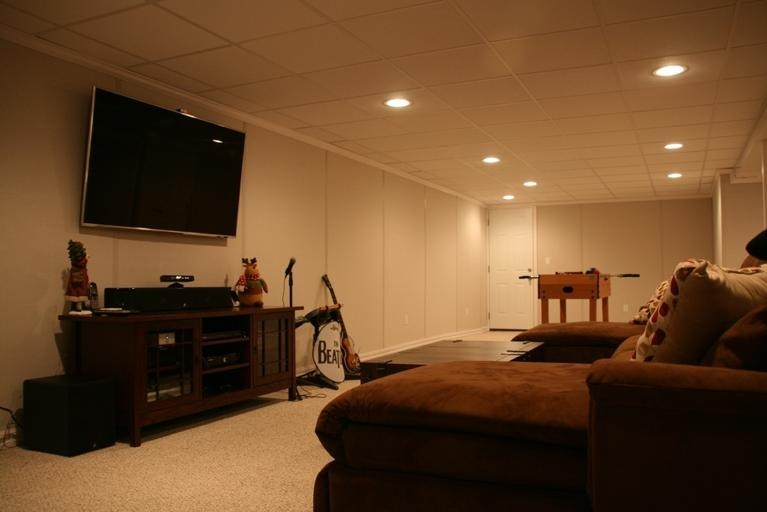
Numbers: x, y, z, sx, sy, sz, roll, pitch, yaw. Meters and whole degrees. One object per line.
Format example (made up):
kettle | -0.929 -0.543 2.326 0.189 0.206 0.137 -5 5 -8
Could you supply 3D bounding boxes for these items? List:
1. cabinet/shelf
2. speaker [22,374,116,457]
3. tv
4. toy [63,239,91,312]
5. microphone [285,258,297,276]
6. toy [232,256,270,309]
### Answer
cabinet/shelf | -1.529 0.896 4.545 0.548 0.836 1.782 -4 -5 29
speaker | -2.209 1.086 3.776 0.535 0.514 0.516 3 -4 -28
tv | -1.903 -0.792 4.462 0.135 0.955 1.325 13 4 33
toy | -2.305 0.150 3.983 0.168 0.532 0.217 -1 -2 -32
microphone | -0.973 0.123 5.502 0.078 0.088 0.302 20 -29 -9
toy | -1.266 0.256 4.967 0.257 0.447 0.406 -1 -1 -33
